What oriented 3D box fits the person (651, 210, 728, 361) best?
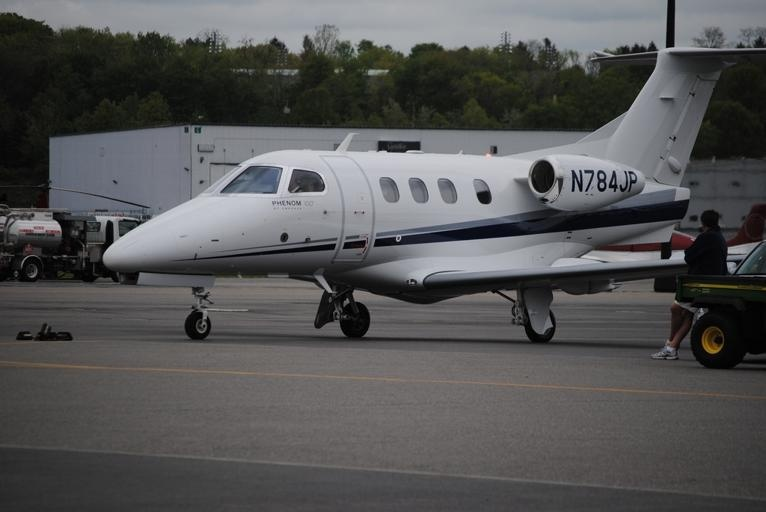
[{"bbox_3d":[6.030,0.591,15.247,1.446,1.037,3.927,14,42,15],"label":"person"}]
